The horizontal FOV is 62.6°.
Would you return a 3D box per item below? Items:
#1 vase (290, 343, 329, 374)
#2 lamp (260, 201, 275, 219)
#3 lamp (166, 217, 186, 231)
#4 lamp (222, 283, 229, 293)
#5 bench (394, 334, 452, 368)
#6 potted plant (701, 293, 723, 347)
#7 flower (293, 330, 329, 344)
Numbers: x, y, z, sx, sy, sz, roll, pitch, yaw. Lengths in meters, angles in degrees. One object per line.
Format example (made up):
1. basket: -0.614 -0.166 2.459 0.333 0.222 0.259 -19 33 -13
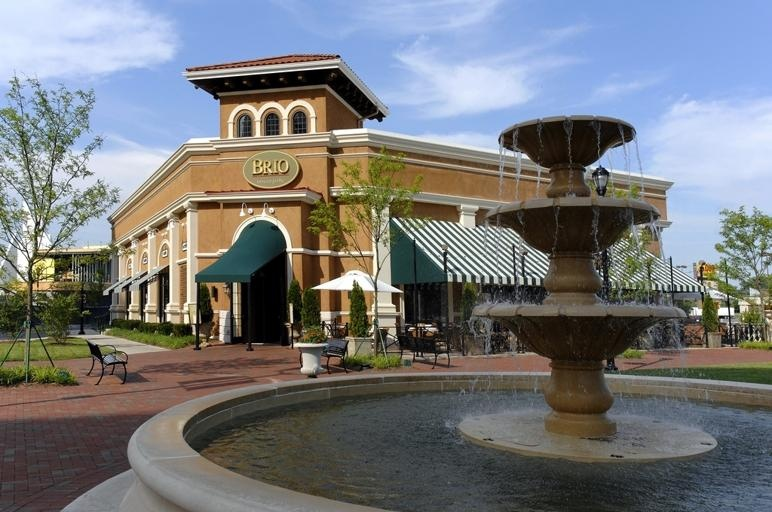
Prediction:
1. vase: -2.180 3.093 19.012 1.044 0.968 1.056 -6 -11 32
2. lamp: -5.383 -2.094 28.910 0.496 0.692 0.179 -3 0 9
3. lamp: -10.545 -1.721 32.094 0.754 0.708 1.029 0 0 -25
4. lamp: -7.434 1.479 29.602 0.389 0.498 0.354 1 -2 -29
5. bench: 1.202 3.186 21.441 0.740 0.897 2.130 4 -5 -30
6. potted plant: 15.649 3.136 30.607 0.794 2.216 2.281 0 6 27
7. flower: -2.250 2.403 19.204 0.772 0.360 1.209 -4 5 -11
